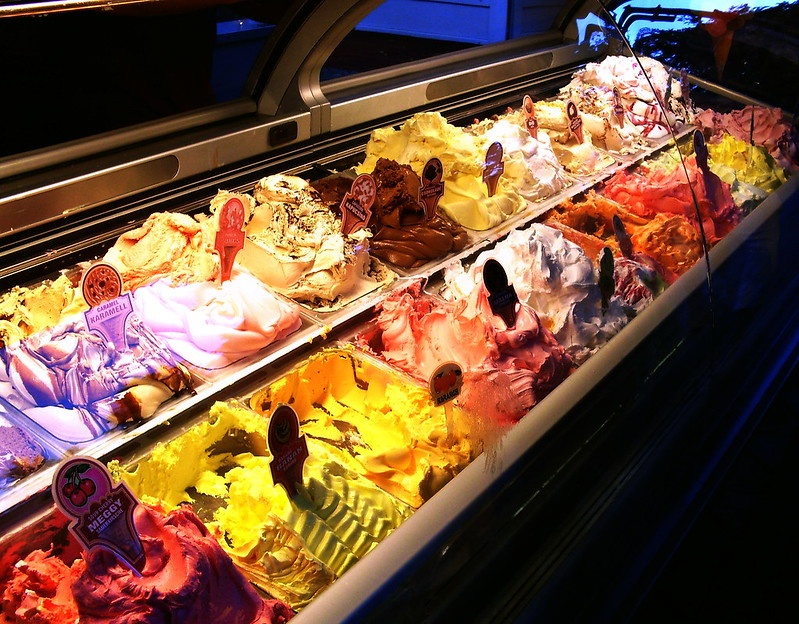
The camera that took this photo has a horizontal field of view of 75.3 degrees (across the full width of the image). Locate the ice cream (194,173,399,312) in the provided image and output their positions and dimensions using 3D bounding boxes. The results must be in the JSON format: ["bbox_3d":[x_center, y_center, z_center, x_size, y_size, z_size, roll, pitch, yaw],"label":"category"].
[{"bbox_3d":[-0.335,-0.229,1.736,0.591,0.199,0.425,41,44,13],"label":"ice cream"}]

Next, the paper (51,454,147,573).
[{"bbox_3d":[-0.484,0.354,0.864,0.013,0.288,0.099,13,41,33],"label":"paper"}]

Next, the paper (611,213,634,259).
[{"bbox_3d":[0.835,-0.264,1.913,0.063,0.289,0.043,-1,68,29],"label":"paper"}]

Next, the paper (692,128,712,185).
[{"bbox_3d":[1.179,-0.617,2.029,0.061,0.259,0.030,-4,40,14],"label":"paper"}]

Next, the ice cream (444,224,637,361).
[{"bbox_3d":[0.468,-0.073,1.827,0.525,0.176,0.447,39,55,15],"label":"ice cream"}]

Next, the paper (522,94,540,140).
[{"bbox_3d":[0.671,-0.973,2.633,0.063,0.290,0.060,2,51,28],"label":"paper"}]

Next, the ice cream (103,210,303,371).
[{"bbox_3d":[-0.648,0.003,1.607,0.545,0.186,0.405,43,52,12],"label":"ice cream"}]

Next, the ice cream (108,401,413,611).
[{"bbox_3d":[-0.435,0.507,1.296,0.709,0.496,0.217,-17,24,33],"label":"ice cream"}]

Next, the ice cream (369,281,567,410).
[{"bbox_3d":[0.210,0.064,1.613,0.604,0.229,0.457,18,38,37],"label":"ice cream"}]

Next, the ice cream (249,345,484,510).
[{"bbox_3d":[-0.050,0.312,1.420,0.516,0.167,0.343,28,49,29],"label":"ice cream"}]

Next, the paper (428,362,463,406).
[{"bbox_3d":[0.116,0.183,1.299,0.014,0.097,0.098,28,51,35],"label":"paper"}]
